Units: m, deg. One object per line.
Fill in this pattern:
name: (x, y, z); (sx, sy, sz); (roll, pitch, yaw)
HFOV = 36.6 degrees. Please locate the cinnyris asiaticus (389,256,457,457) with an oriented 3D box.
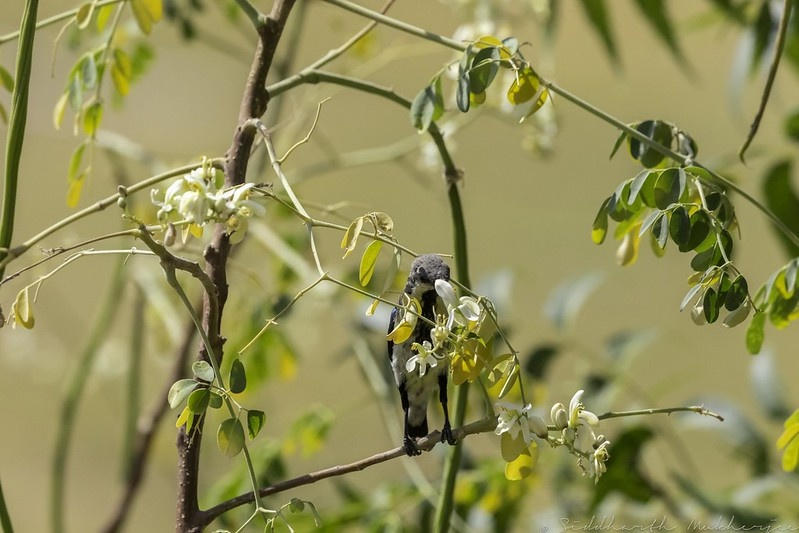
cinnyris asiaticus: (0.085, 0.323, 4.770); (0.286, 1.022, 0.748); (-3, -89, -2)

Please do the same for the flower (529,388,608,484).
flower: (0.573, 0.545, 3.859); (0.314, 0.188, 0.188); (14, -7, 23)

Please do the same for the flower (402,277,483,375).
flower: (0.138, 0.232, 3.883); (0.198, 0.262, 0.310); (9, -32, -22)

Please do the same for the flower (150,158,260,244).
flower: (-0.586, -0.165, 3.779); (0.255, 0.293, 0.240); (14, -56, 30)
